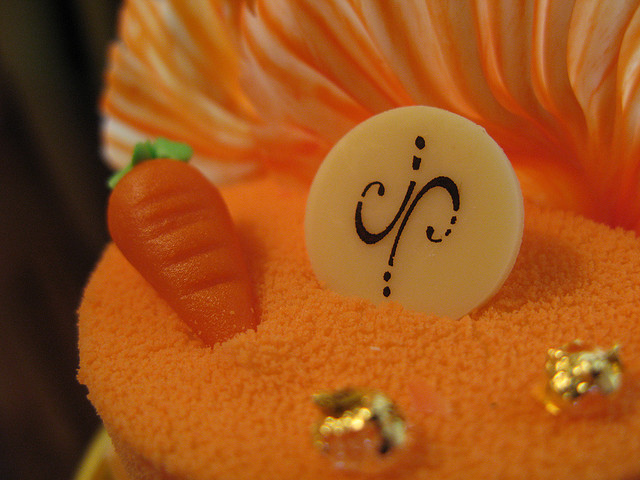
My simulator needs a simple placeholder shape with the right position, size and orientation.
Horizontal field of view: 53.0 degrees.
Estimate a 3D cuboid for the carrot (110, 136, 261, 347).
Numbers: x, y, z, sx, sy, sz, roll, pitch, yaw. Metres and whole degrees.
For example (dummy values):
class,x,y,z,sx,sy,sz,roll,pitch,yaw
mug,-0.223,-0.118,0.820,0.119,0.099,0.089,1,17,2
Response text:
class,x,y,z,sx,sy,sz,roll,pitch,yaw
carrot,-0.202,-0.032,0.974,0.146,0.151,0.359,-25,77,4
